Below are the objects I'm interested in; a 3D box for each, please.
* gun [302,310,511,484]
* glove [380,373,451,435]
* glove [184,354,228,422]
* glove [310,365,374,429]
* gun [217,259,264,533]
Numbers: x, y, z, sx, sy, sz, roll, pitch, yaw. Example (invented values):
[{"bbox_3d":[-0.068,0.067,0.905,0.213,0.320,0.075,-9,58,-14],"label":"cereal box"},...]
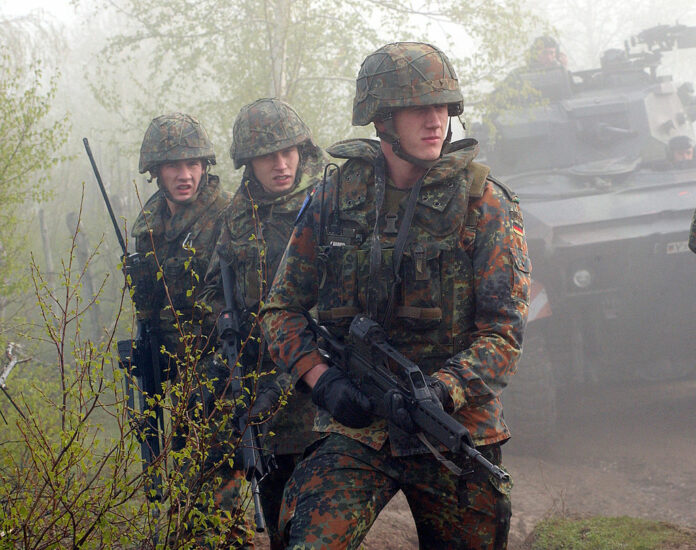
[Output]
[{"bbox_3d":[0.298,0.834,5.559,0.210,0.817,2.138,-10,28,-34],"label":"gun"},{"bbox_3d":[0.448,0.910,5.397,0.513,0.385,0.236,-1,5,6],"label":"glove"},{"bbox_3d":[-1.233,0.984,6.879,0.231,0.818,0.278,34,44,15],"label":"glove"},{"bbox_3d":[-0.045,0.899,5.572,0.417,0.330,0.178,41,31,27],"label":"glove"},{"bbox_3d":[-0.957,1.111,7.084,0.297,2.537,0.589,-8,-10,1],"label":"gun"}]
